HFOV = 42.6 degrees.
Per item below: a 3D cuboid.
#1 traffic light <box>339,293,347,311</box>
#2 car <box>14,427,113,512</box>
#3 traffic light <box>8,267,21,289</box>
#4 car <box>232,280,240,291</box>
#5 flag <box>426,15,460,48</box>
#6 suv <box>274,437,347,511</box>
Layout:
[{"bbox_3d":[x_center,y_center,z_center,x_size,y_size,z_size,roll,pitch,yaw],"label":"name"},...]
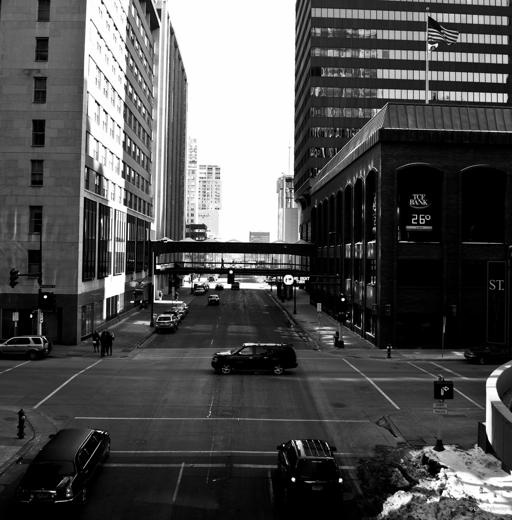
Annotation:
[{"bbox_3d":[5.972,2.940,45.349,0.385,1.194,1.580,-1,-2,5],"label":"traffic light"},{"bbox_3d":[-5.262,5.844,18.294,1.474,1.583,3.332,-1,-2,5],"label":"car"},{"bbox_3d":[-14.321,1.043,38.997,0.507,1.416,1.644,5,-22,-17],"label":"traffic light"},{"bbox_3d":[-3.662,4.392,115.406,1.490,1.840,3.198,0,-6,-1],"label":"car"},{"bbox_3d":[13.315,-16.496,47.373,1.594,2.026,3.093,-3,-2,43],"label":"flag"},{"bbox_3d":[1.355,5.873,18.008,0.909,1.078,2.343,0,3,0],"label":"suv"}]
